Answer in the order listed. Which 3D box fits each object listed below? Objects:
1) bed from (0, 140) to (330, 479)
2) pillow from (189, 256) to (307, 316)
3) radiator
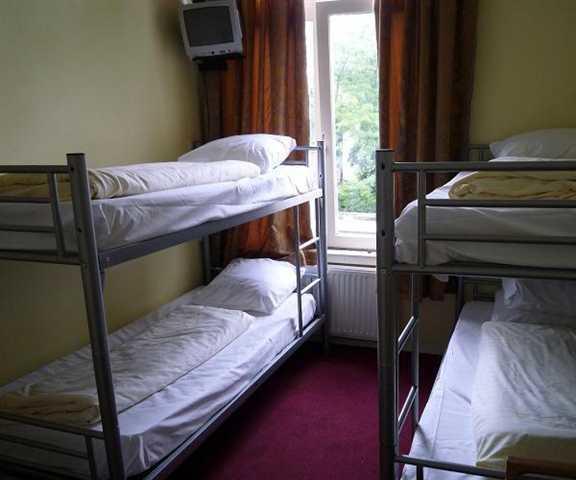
[{"bbox_3d":[-0.643,0.384,2.598,0.506,1.361,1.585,1,13,18],"label":"bed"},{"bbox_3d":[-0.259,0.307,3.625,0.621,0.176,0.668,5,22,22],"label":"pillow"},{"bbox_3d":[0.365,0.448,3.764,0.572,0.484,0.064,4,19,21],"label":"radiator"}]
